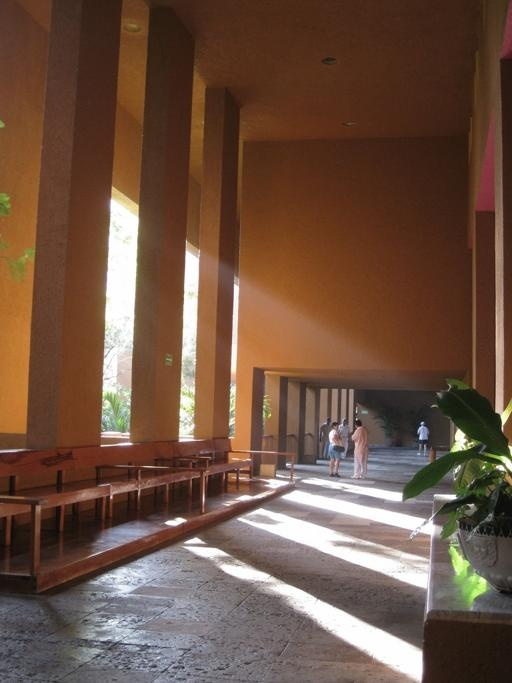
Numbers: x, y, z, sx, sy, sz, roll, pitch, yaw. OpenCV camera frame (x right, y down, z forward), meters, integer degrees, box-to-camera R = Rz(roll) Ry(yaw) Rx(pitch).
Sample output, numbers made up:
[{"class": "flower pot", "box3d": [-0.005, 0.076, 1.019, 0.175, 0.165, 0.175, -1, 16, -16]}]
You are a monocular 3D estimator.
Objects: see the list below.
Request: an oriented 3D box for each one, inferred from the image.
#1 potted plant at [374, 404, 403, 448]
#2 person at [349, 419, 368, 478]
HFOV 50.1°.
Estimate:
[{"class": "potted plant", "box3d": [9.237, 5.892, 37.965, 1.723, 2.779, 0.870, -2, -5, 13]}, {"class": "person", "box3d": [2.897, 2.991, 15.306, 0.398, 1.536, 1.383, -1, -5, 10]}]
